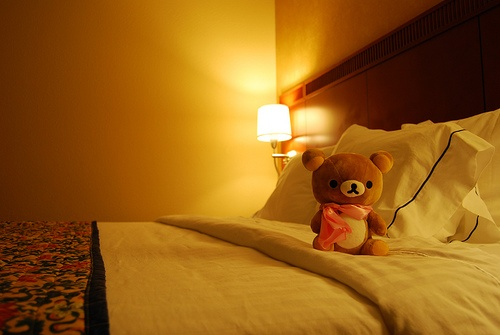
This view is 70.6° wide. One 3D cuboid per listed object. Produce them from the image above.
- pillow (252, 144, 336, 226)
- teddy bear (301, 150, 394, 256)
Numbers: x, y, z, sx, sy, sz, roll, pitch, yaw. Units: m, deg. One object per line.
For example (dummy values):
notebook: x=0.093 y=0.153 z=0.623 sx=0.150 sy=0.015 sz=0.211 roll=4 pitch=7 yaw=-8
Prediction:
pillow: x=0.231 y=0.157 z=1.965 sx=0.125 sy=0.456 sz=0.404 roll=16 pitch=8 yaw=-9
teddy bear: x=0.308 y=0.120 z=1.342 sx=0.382 sy=0.475 sz=0.303 roll=1 pitch=-11 yaw=2
